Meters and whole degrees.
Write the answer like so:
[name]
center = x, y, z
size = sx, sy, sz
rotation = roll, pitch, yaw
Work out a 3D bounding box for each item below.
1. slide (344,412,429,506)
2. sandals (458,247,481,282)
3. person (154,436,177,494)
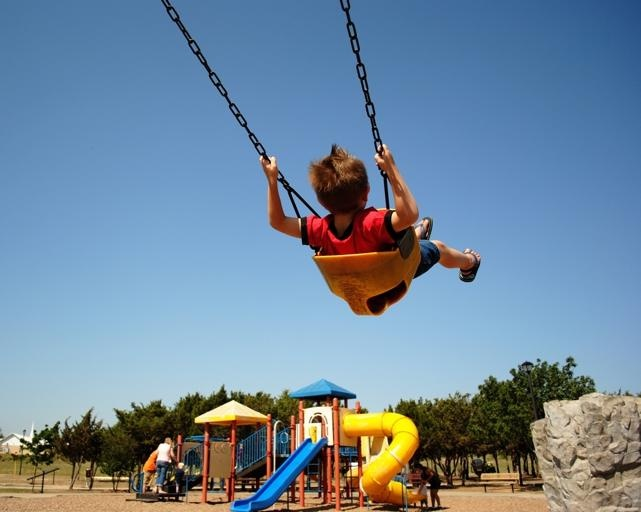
[slide]
center = 2.290, 7.209, 20.245
size = 2.662, 3.379, 5.301
rotation = -3, -22, 8
[sandals]
center = 2.287, 0.118, 8.616
size = 0.151, 0.520, 0.257
rotation = 4, 3, -37
[person]
center = -5.943, 7.932, 21.154
size = 0.624, 2.074, 0.620
rotation = -9, -31, 19
